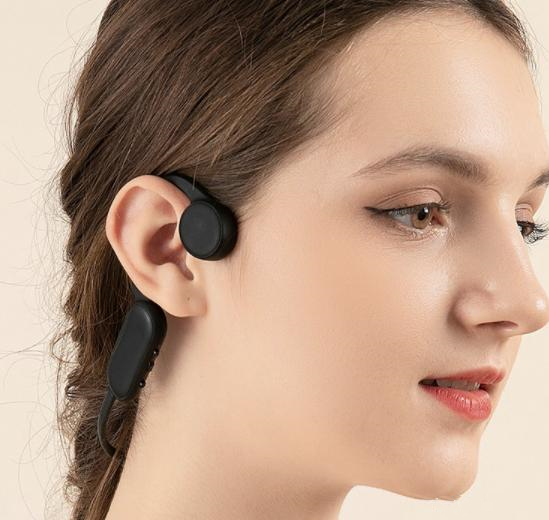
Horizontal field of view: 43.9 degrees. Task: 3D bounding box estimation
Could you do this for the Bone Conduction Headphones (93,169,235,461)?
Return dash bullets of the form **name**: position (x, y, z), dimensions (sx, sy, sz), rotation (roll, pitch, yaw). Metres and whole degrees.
- **Bone Conduction Headphones**: position (-0.206, 0.088, 1.238), dimensions (0.113, 0.417, 0.305), rotation (26, -8, -35)
